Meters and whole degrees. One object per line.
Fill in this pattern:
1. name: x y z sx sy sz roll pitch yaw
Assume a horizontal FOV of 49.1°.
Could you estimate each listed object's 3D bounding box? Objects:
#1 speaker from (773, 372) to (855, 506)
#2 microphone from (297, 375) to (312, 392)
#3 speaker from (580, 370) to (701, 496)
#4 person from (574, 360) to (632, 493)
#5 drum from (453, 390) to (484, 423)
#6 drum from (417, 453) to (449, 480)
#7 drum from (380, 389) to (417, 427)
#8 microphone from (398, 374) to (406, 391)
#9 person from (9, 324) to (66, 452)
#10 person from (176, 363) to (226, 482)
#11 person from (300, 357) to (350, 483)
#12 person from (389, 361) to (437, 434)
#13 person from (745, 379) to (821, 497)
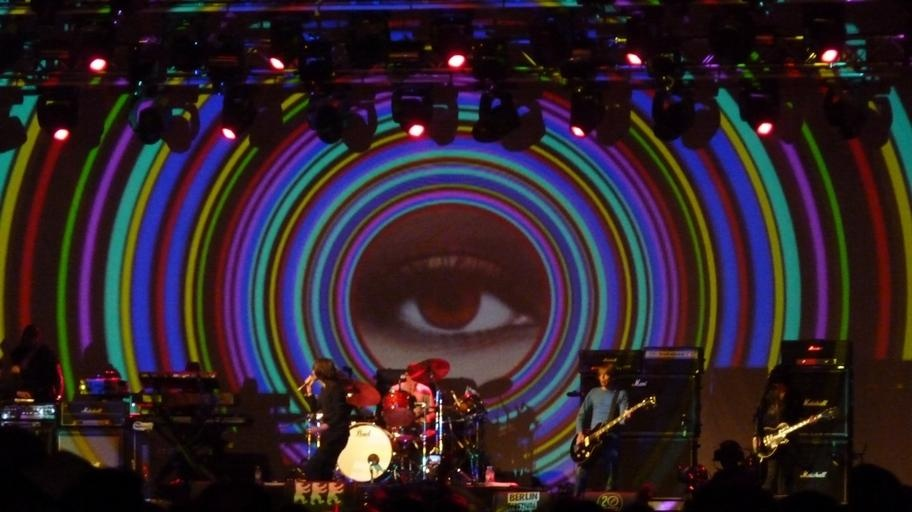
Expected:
1. speaker: 5.170 2.522 14.558 1.229 2.430 1.270 -3 0 2
2. microphone: -2.325 1.942 15.239 0.226 0.074 0.214 -11 30 45
3. speaker: 2.719 2.496 14.587 1.432 1.919 1.456 1 2 32
4. person: 2.061 2.456 14.600 0.847 1.784 0.829 1 2 16
5. drum: 0.122 2.273 14.979 0.519 0.390 0.361 -13 -1 -18
6. drum: -0.315 3.073 14.607 0.472 0.381 0.340 4 -22 2
7. drum: 0.082 2.190 15.070 0.386 0.408 0.528 -8 -6 42
8. microphone: -0.826 1.913 15.163 0.154 0.179 0.062 13 -11 -39
9. person: -6.123 1.851 14.578 0.832 1.839 0.834 3 -2 16
10. person: -3.704 2.430 14.721 0.625 1.343 0.872 -2 -14 0
11. person: -1.814 2.283 14.090 0.776 1.682 0.678 -1 -3 42
12. person: -0.619 2.090 14.929 0.744 1.147 0.510 0 -3 11
13. person: 4.591 2.506 14.367 0.986 1.667 0.816 -2 -3 44
